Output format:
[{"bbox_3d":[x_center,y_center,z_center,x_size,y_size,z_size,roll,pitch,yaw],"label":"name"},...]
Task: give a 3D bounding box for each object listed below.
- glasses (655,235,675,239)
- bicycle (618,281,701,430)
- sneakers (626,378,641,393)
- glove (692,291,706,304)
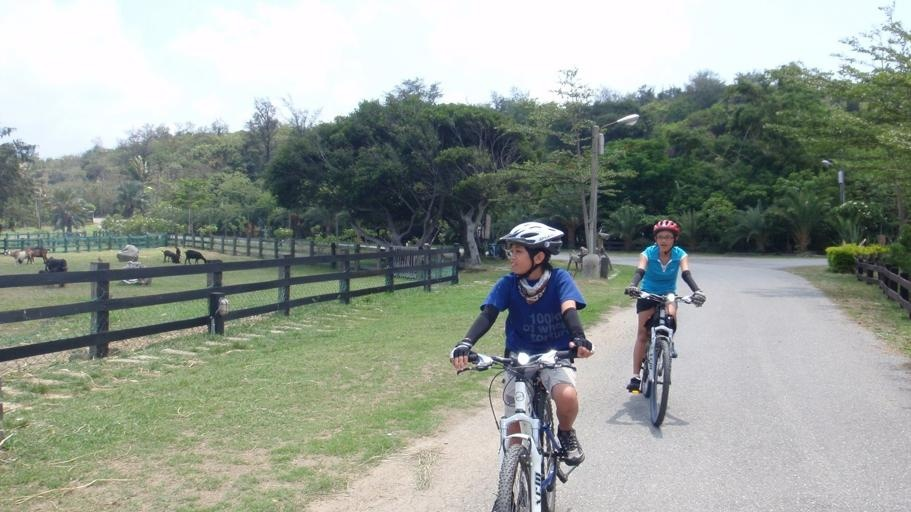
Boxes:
[{"bbox_3d":[4.543,-0.418,15.738,0.369,0.114,0.124,-1,3,15],"label":"glasses"},{"bbox_3d":[4.173,2.086,15.320,0.927,2.846,1.102,0,4,26],"label":"bicycle"},{"bbox_3d":[3.856,2.796,15.690,0.259,0.311,0.136,1,-3,5],"label":"sneakers"},{"bbox_3d":[5.133,0.888,15.488,0.336,0.181,0.408,-1,5,-1],"label":"glove"}]
